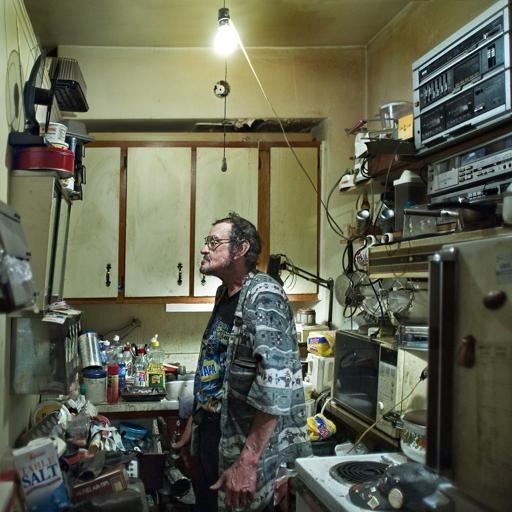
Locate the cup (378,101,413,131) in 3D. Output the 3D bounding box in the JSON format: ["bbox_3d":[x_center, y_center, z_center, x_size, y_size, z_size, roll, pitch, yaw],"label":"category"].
[{"bbox_3d":[0.601,-0.598,2.143,0.133,0.149,0.117,1,2,2],"label":"cup"}]

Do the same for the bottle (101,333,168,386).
[{"bbox_3d":[-0.670,0.588,2.908,0.330,0.390,0.287,-1,-6,14],"label":"bottle"}]

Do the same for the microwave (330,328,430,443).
[{"bbox_3d":[0.566,0.546,2.131,0.267,0.364,0.500,7,-5,-21],"label":"microwave"}]

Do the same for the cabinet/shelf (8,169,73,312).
[{"bbox_3d":[-0.641,-0.064,1.453,0.120,0.417,0.429,-2,-8,-9],"label":"cabinet/shelf"}]

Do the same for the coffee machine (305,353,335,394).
[{"bbox_3d":[0.368,0.676,2.766,0.165,0.222,0.234,5,-19,6],"label":"coffee machine"}]

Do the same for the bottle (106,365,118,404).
[{"bbox_3d":[-0.748,0.676,2.565,0.065,0.183,0.065,1,-2,0],"label":"bottle"}]

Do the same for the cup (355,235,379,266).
[{"bbox_3d":[0.502,-0.013,2.164,0.047,0.143,0.096,17,-13,-9],"label":"cup"}]
